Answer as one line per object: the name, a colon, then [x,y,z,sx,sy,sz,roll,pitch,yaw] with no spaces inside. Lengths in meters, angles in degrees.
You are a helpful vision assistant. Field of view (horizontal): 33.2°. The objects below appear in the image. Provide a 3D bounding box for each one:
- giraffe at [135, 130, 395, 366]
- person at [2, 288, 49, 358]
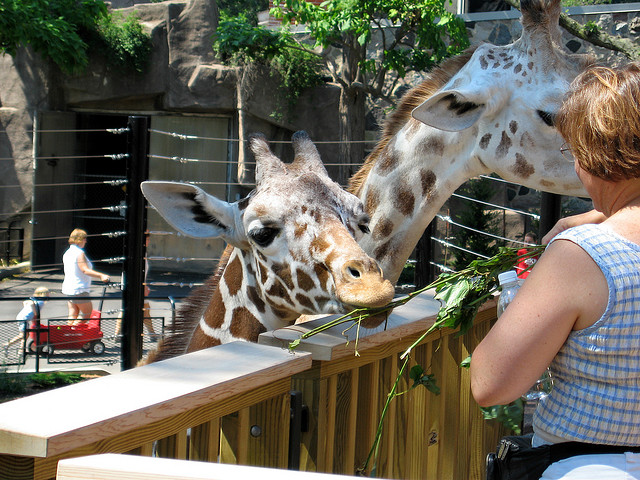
giraffe: [-0.166,0.002,8.272,2.009,1.759,1.286,-5,2,42]
person: [-3.482,0.986,12.525,0.493,0.761,1.606,0,4,-12]
